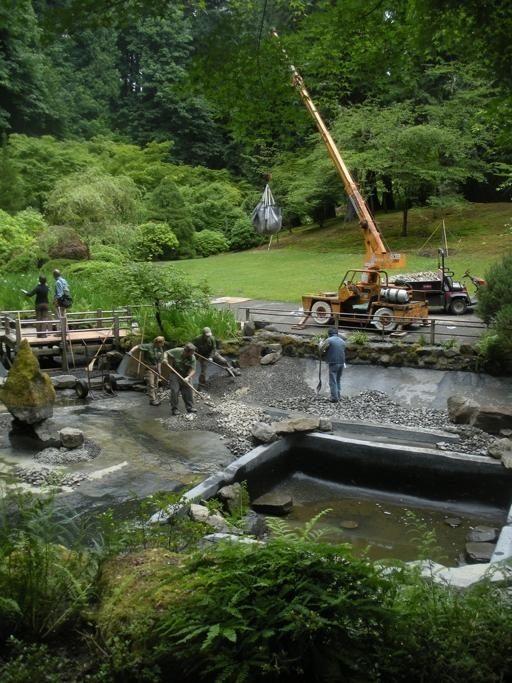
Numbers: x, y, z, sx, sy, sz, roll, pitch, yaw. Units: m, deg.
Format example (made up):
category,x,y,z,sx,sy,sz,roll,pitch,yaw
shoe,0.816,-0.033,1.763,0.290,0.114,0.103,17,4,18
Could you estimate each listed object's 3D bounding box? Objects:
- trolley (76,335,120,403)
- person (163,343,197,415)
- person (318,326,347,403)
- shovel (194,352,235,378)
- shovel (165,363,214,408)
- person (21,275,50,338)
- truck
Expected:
category,x,y,z,sx,sy,sz,roll,pitch,yaw
trolley,-4.058,0.702,13.736,1.040,1.379,0.854,-9,17,-43
person,-1.578,0.777,11.929,0.717,1.461,0.802,10,8,38
person,1.776,0.545,12.457,0.668,1.516,0.808,-1,11,-25
shovel,-1.142,0.518,13.632,0.637,0.866,0.336,-18,9,-9
shovel,-1.649,0.843,11.932,0.796,1.454,0.800,-4,-9,25
person,-6.335,-1.038,16.157,0.849,2.099,0.901,-6,16,-38
truck,6.316,-1.831,18.826,4.310,2.252,2.138,-3,19,-1
